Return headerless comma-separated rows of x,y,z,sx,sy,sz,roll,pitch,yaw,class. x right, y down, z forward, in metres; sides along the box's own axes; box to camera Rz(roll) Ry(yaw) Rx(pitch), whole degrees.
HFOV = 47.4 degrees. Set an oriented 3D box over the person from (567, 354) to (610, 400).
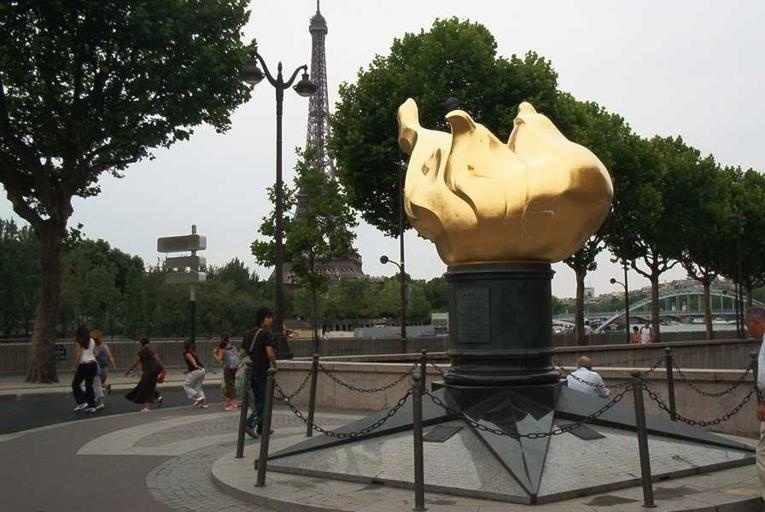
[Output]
4.679,2.802,20.170,0.828,0.909,1.132,-4,-7,27,person
